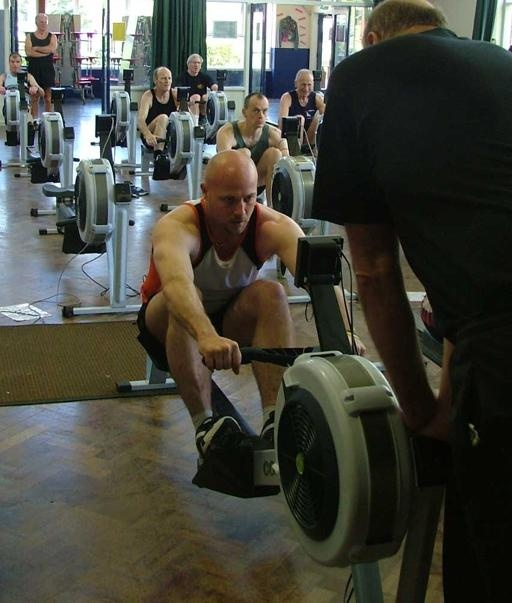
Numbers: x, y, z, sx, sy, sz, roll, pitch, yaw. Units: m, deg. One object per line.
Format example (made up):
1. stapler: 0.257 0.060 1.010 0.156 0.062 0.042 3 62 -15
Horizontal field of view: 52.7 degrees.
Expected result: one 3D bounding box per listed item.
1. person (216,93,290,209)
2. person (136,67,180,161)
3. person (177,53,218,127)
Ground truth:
1. person: 0.006 -1.497 5.139 0.701 1.353 1.337 -1 10 -9
2. person: -1.408 -2.735 7.349 0.548 1.214 1.347 0 14 -9
3. person: -1.056 -3.697 9.285 0.500 1.262 0.789 -12 26 -22
